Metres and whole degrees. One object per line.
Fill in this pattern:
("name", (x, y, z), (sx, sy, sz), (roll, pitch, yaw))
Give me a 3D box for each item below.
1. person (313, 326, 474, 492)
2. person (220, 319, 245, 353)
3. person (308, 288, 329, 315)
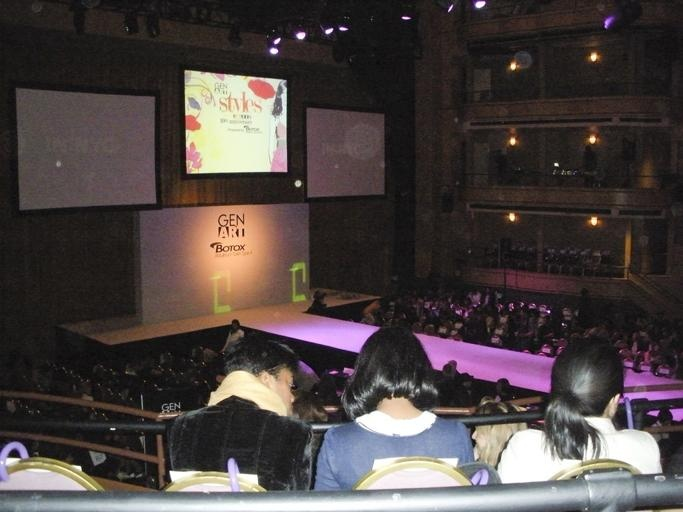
("person", (0.211, 0.735, 2.539), (0.715, 0.695, 0.379), (2, 6, -18))
("person", (-2.156, 1.683, 11.725), (0.335, 0.843, 0.272), (8, 18, 2))
("person", (-0.635, 1.205, 15.439), (0.610, 0.855, 0.425), (-2, 16, -7))
